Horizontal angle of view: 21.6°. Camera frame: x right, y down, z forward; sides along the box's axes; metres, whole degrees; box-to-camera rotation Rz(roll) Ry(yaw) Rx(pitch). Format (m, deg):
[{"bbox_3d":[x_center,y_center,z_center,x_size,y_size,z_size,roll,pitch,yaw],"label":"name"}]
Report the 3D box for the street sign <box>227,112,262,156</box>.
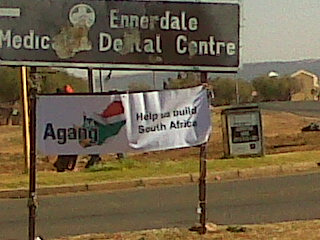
[{"bbox_3d":[3.955,0.710,39.264,1.793,2.580,0.254,-4,-33,5],"label":"street sign"}]
